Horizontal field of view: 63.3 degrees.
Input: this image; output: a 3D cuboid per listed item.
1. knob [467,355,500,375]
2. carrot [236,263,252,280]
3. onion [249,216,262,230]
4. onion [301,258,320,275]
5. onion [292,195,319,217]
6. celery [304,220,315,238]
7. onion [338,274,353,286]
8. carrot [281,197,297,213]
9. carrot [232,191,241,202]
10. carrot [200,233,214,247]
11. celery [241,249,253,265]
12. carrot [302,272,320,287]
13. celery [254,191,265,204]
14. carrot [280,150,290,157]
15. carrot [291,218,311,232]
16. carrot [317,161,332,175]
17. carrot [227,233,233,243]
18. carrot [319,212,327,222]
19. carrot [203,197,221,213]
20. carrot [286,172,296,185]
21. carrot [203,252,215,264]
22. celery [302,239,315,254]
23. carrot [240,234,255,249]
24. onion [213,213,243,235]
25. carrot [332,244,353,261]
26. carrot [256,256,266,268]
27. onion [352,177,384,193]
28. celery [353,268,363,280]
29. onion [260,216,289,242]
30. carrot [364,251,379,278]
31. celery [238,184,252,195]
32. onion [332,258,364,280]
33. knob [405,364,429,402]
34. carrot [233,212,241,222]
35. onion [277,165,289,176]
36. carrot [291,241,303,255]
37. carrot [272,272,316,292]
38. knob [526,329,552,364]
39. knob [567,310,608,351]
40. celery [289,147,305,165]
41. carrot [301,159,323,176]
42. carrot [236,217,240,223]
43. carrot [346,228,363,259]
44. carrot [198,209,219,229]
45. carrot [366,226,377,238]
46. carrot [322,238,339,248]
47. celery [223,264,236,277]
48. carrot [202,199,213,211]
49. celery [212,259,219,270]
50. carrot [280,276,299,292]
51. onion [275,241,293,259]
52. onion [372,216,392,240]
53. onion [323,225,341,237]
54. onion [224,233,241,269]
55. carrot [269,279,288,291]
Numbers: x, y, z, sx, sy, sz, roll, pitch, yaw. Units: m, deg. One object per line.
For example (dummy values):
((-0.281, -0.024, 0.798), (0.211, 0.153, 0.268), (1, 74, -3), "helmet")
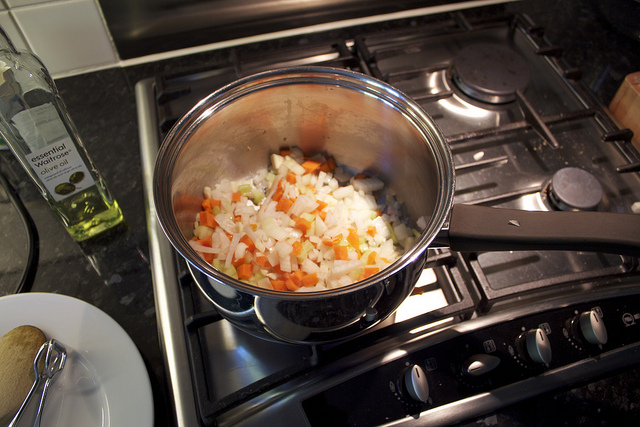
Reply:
((0.299, 0.274, 0.948), (0.050, 0.012, 0.031), (-15, 67, 5), "knob")
((-0.147, 0.114, 1.006), (0.027, 0.027, 0.028), (7, 15, 35), "carrot")
((-0.139, 0.019, 1.074), (0.021, 0.010, 0.028), (-8, 64, -10), "onion")
((-0.021, 0.106, 1.019), (0.029, 0.014, 0.023), (37, 48, 21), "onion")
((-0.032, -0.010, 1.082), (0.047, 0.019, 0.045), (27, 65, 9), "onion")
((-0.018, 0.034, 1.072), (0.016, 0.008, 0.030), (9, 71, -3), "celery")
((0.048, 0.130, 1.002), (0.018, 0.033, 0.018), (-4, 95, 28), "onion")
((-0.066, -0.014, 1.083), (0.012, 0.022, 0.022), (32, 29, 12), "carrot")
((-0.178, -0.035, 1.105), (0.016, 0.012, 0.025), (-1, 64, -4), "carrot")
((-0.226, 0.052, 1.014), (0.016, 0.008, 0.022), (-31, 73, -19), "carrot")
((-0.141, 0.089, 1.032), (0.023, 0.022, 0.023), (-22, 69, -16), "celery")
((-0.020, 0.129, 0.996), (0.037, 0.026, 0.021), (-4, 90, 2), "carrot")
((-0.132, -0.035, 1.118), (0.021, 0.018, 0.022), (23, 61, 9), "celery")
((-0.078, -0.133, 1.151), (0.016, 0.014, 0.014), (-5, 57, -3), "carrot")
((-0.040, 0.027, 1.066), (0.042, 0.032, 0.024), (9, 85, 4), "carrot")
((0.011, -0.099, 1.154), (0.028, 0.022, 0.030), (-2, 62, 17), "carrot")
((-0.182, 0.050, 1.040), (0.015, 0.003, 0.015), (5, 72, -12), "carrot")
((0.006, 0.010, 1.083), (0.014, 0.016, 0.025), (-18, 104, -47), "carrot")
((-0.221, -0.015, 1.074), (0.032, 0.011, 0.032), (-22, 79, -34), "carrot")
((-0.062, -0.074, 1.123), (0.022, 0.022, 0.023), (-2, 84, 0), "carrot")
((-0.218, 0.090, 1.021), (0.013, 0.008, 0.022), (-3, 85, -19), "carrot")
((-0.027, 0.068, 1.045), (0.021, 0.008, 0.025), (42, 68, 16), "celery")
((-0.144, 0.058, 1.033), (0.019, 0.007, 0.027), (-14, 64, -19), "carrot")
((-0.186, 0.022, 1.049), (0.052, 0.012, 0.035), (9, 51, -21), "onion")
((0.041, 0.079, 1.026), (0.031, 0.057, 0.032), (2, 70, 3), "carrot")
((-0.116, 0.095, 1.015), (0.018, 0.016, 0.017), (2, 64, -3), "carrot")
((0.104, -0.062, 1.137), (0.038, 0.011, 0.039), (-2, 56, -3), "onion")
((0.073, 0.118, 1.004), (0.013, 0.008, 0.022), (16, 80, -4), "celery")
((-0.095, 0.033, 1.050), (0.036, 0.015, 0.053), (-34, 60, -26), "onion")
((0.106, 0.101, 1.009), (0.029, 0.009, 0.041), (2, 52, -7), "carrot")
((-0.151, -0.048, 1.089), (0.023, 0.015, 0.017), (-1, 107, -11), "celery")
((0.054, 0.106, 1.007), (0.063, 0.018, 0.025), (-19, 67, -13), "onion")
((0.174, 0.308, 0.937), (0.038, 0.028, 0.061), (-16, 66, -11), "knob")
((-0.174, 0.010, 1.075), (0.016, 0.009, 0.011), (5, 34, -6), "carrot")
((-0.080, -0.093, 1.138), (0.020, 0.020, 0.020), (-2, 69, 1), "onion")
((-0.042, 0.069, 1.026), (0.019, 0.004, 0.022), (4, 72, -7), "carrot")
((-0.062, 0.122, 0.990), (0.055, 0.018, 0.040), (8, 46, 44), "carrot")
((0.402, 0.248, 0.957), (0.055, 0.017, 0.055), (11, 71, -32), "knob")
((0.502, 0.220, 0.976), (0.058, 0.041, 0.071), (-6, 64, -7), "knob")
((-0.051, -0.127, 1.158), (0.035, 0.014, 0.035), (20, 61, -27), "celery")
((-0.022, -0.107, 1.155), (0.050, 0.026, 0.033), (-27, 51, -26), "carrot")
((-0.171, 0.015, 1.074), (0.008, 0.007, 0.010), (-3, 77, -9), "carrot")
((0.075, 0.060, 1.043), (0.029, 0.014, 0.052), (-6, 75, -2), "carrot")
((-0.226, 0.014, 1.050), (0.017, 0.031, 0.021), (-7, 40, 31), "carrot")
((0.107, 0.038, 1.079), (0.017, 0.020, 0.019), (-15, 38, -15), "carrot")
((0.017, 0.059, 1.040), (0.017, 0.008, 0.020), (-10, 35, 13), "carrot")
((-0.176, 0.113, 1.020), (0.021, 0.009, 0.019), (-31, 70, -18), "celery")
((-0.232, -0.016, 1.072), (0.015, 0.020, 0.028), (-12, 81, 2), "carrot")
((-0.206, 0.101, 1.023), (0.013, 0.008, 0.022), (-9, 84, -13), "celery")
((-0.065, 0.136, 0.999), (0.026, 0.025, 0.006), (20, 40, 31), "carrot")
((-0.075, 0.070, 1.023), (0.033, 0.013, 0.036), (-36, 71, -19), "onion")
((0.130, 0.030, 1.094), (0.026, 0.013, 0.047), (-25, 70, -11), "onion")
((0.024, 0.038, 1.062), (0.033, 0.014, 0.023), (-34, 71, -19), "onion")
((-0.170, 0.075, 1.030), (0.019, 0.012, 0.071), (20, 81, 1), "onion")
((-0.080, 0.139, 1.004), (0.032, 0.018, 0.022), (-3, 104, -6), "carrot")
